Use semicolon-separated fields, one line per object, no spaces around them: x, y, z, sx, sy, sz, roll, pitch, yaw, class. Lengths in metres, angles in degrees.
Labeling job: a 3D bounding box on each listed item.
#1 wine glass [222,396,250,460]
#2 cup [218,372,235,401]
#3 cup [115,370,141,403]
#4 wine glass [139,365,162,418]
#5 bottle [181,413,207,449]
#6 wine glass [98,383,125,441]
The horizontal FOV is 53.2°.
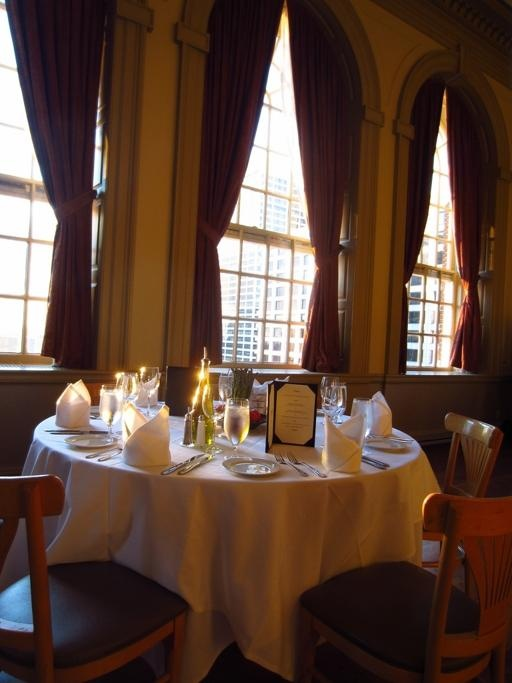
-0.061;0.241;1.468;0.056;0.240;0.085;1;29;0;wine glass
-0.117;0.165;1.863;0.052;0.148;0.068;0;0;18;cup
-0.457;0.166;1.831;0.067;0.188;0.086;0;6;3;cup
-0.470;0.220;2.267;0.066;0.250;0.074;-3;16;-29;wine glass
-0.199;0.296;1.701;0.069;0.143;0.086;3;1;14;bottle
-0.473;0.242;1.661;0.063;0.260;0.078;1;24;-18;wine glass
